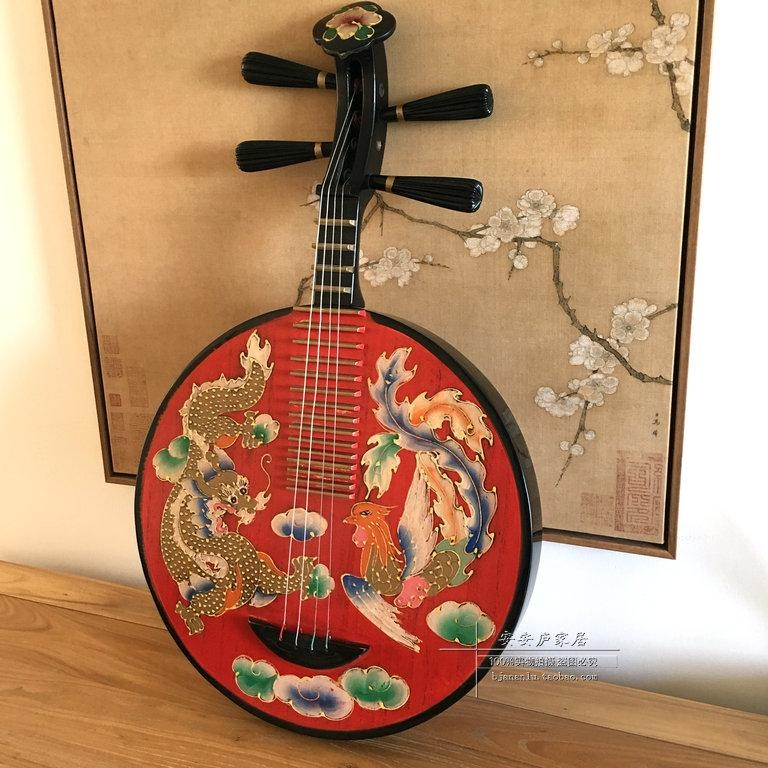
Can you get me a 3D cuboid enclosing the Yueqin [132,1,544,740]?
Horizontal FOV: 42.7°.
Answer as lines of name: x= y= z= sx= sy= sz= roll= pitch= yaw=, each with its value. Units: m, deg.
Yueqin: x=-0.022 y=-0.020 z=1.312 sx=0.546 sy=0.991 sz=0.156 roll=10 pitch=7 yaw=20
